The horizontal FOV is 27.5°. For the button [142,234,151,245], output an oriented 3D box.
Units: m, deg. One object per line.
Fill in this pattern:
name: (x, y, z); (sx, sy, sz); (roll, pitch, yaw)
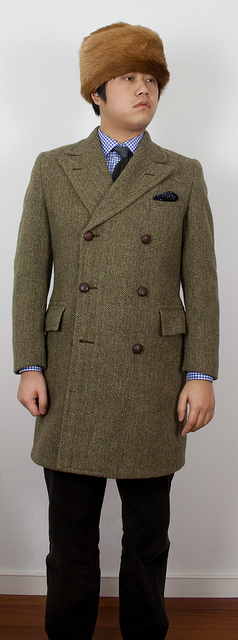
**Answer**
button: (0.061, -0.178, 1.071); (0.023, 0.020, 0.012); (-1, 12, -15)

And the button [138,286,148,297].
button: (0.054, -0.062, 1.073); (0.028, 0.024, 0.010); (-7, 14, -36)

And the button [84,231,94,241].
button: (-0.065, -0.182, 1.054); (0.019, 0.019, 0.009); (1, 11, -6)

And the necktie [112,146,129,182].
necktie: (0.009, -0.376, 1.170); (0.048, 0.084, 0.020); (-5, -16, 45)

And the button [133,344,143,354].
button: (0.045, 0.063, 1.063); (0.016, 0.020, 0.004); (12, -6, -17)

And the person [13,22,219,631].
person: (-0.005, 0.039, 1.177); (0.490, 1.481, 0.361); (-1, 11, -16)

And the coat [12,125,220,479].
coat: (-0.008, -0.049, 1.131); (0.481, 0.757, 0.339); (5, 12, 14)

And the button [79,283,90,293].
button: (-0.075, -0.070, 1.058); (0.022, 0.019, 0.011); (1, 11, -8)
